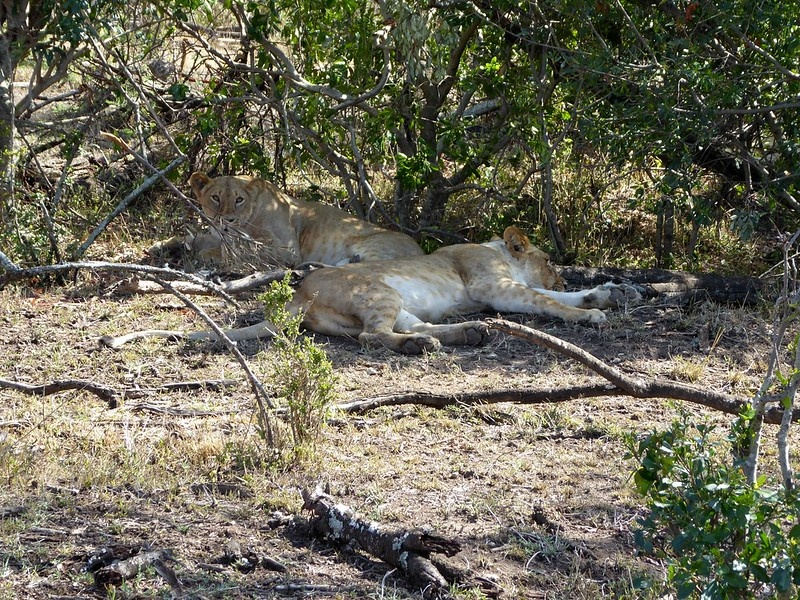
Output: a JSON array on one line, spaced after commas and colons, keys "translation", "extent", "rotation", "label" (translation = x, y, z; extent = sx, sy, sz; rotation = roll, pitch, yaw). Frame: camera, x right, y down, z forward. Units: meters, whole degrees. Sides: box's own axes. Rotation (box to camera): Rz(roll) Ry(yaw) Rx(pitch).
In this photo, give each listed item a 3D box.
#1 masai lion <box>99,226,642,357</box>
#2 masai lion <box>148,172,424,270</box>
[{"translation": [0.224, -0.140, 7.731], "extent": [3.675, 1.093, 1.314], "rotation": [1, 1, -23], "label": "masai lion"}, {"translation": [-1.043, -0.779, 9.161], "extent": [2.404, 0.907, 1.092], "rotation": [9, -6, -3], "label": "masai lion"}]
